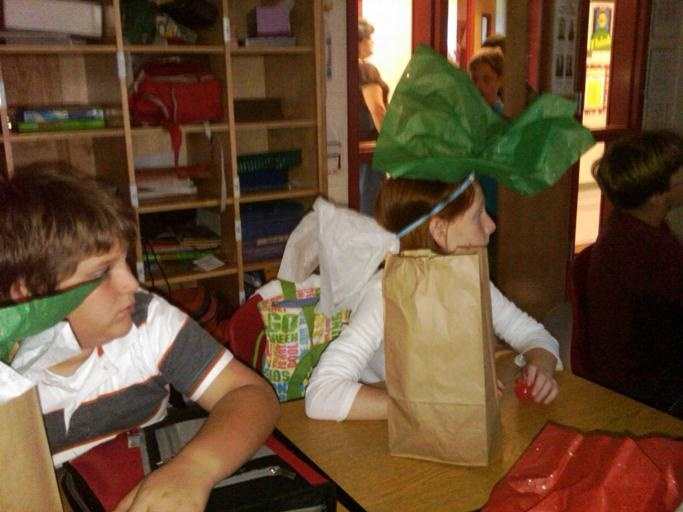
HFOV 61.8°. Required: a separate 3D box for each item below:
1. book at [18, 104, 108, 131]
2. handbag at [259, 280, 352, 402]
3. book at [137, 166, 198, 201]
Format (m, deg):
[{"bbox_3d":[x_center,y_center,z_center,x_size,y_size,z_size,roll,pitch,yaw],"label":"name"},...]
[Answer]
[{"bbox_3d":[-1.326,-0.649,2.700,0.396,0.110,0.069,-10,12,-28],"label":"book"},{"bbox_3d":[-0.100,0.280,1.781,0.284,0.375,0.195,-4,12,-36],"label":"handbag"},{"bbox_3d":[-0.956,-0.393,3.079,0.254,0.063,0.198,-11,28,-23],"label":"book"}]
